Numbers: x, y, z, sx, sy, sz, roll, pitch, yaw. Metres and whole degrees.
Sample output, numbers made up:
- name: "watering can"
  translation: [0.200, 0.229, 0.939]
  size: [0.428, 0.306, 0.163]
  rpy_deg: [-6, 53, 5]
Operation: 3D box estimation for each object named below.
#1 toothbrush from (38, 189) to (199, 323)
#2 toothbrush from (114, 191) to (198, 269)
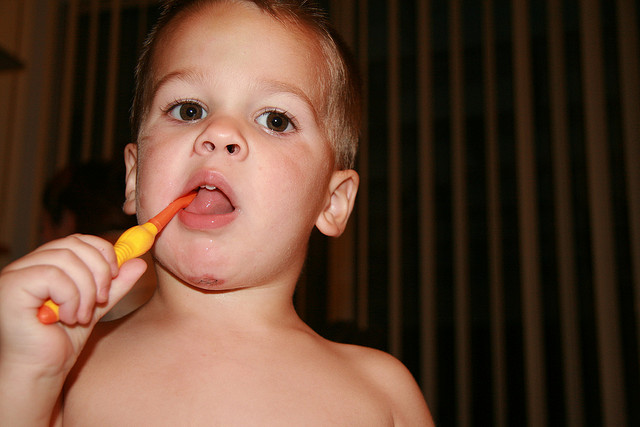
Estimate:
- name: "toothbrush"
  translation: [-0.428, 0.099, 1.588]
  size: [0.077, 0.481, 0.068]
  rpy_deg: [51, -18, -4]
- name: "toothbrush"
  translation: [-0.319, 0.060, 1.430]
  size: [0.065, 0.066, 0.313]
  rpy_deg: [-22, 23, -31]
